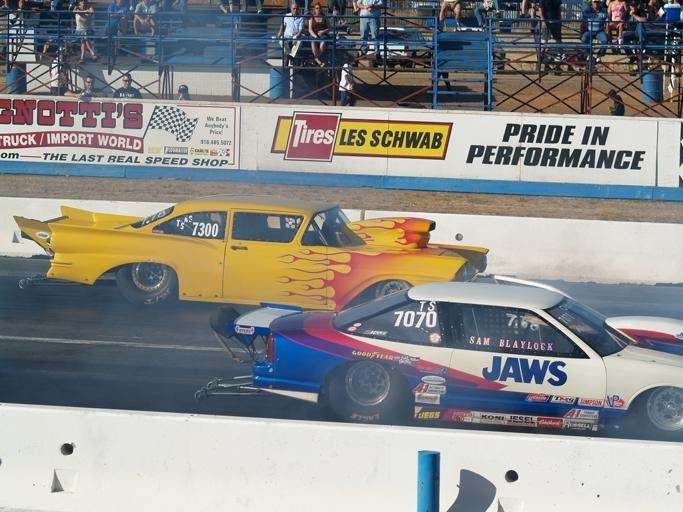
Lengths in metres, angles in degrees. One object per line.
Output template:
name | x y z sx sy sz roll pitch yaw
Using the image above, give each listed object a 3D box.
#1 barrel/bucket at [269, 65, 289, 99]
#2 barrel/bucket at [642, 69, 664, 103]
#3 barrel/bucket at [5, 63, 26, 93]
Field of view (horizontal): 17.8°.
barrel/bucket | -1.219 -4.294 53.704 0.707 1.065 0.693 -1 5 0
barrel/bucket | 7.503 -4.168 53.184 0.556 0.817 0.526 2 10 0
barrel/bucket | -8.188 -4.544 55.054 0.486 0.779 0.465 5 27 -3
